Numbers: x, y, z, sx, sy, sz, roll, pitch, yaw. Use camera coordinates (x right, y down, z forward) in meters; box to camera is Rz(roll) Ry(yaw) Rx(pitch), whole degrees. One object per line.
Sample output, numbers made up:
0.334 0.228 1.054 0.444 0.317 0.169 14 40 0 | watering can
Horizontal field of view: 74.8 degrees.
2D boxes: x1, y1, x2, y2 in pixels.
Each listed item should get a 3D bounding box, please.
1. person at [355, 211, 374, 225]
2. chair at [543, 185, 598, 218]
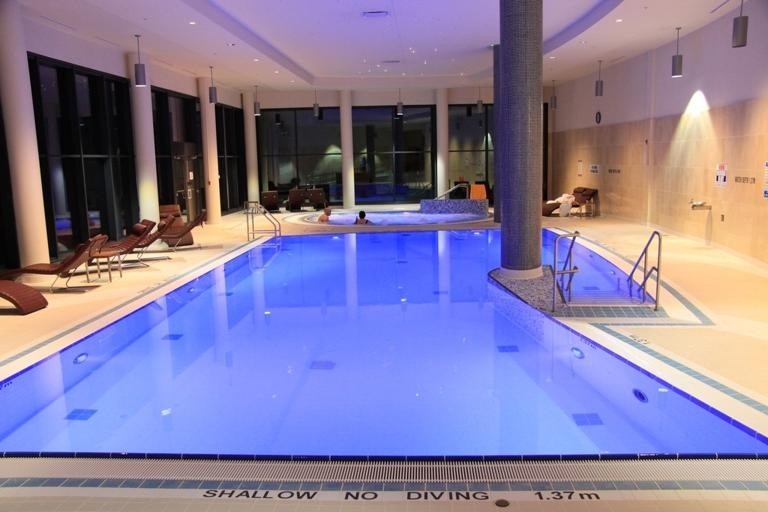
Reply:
-0.775 -1.430 18.161 0.516 0.439 0.979 -1 13 -6 | person
7.145 -2.034 18.915 1.436 0.763 1.620 -3 8 -11 | chair
